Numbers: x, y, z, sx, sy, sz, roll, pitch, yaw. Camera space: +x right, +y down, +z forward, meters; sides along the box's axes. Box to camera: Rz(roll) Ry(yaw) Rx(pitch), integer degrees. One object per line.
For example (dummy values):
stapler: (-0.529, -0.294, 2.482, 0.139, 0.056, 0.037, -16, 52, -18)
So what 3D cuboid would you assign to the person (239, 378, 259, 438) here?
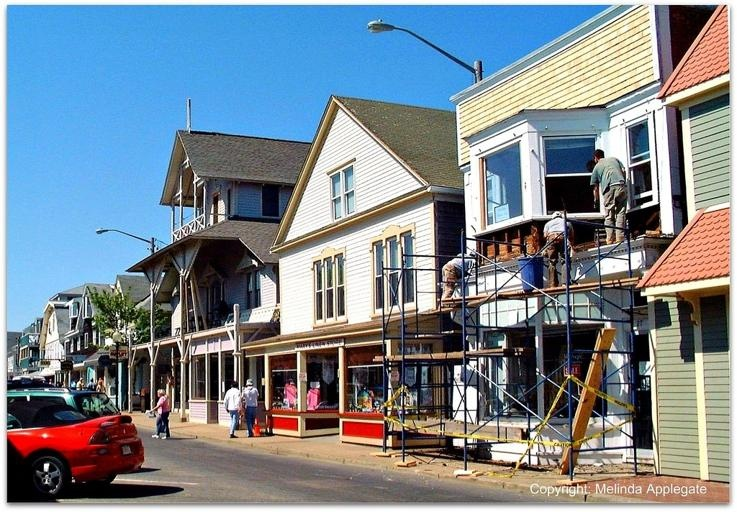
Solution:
person: (-4.152, 5.266, 34.423, 0.517, 2.042, 1.396, 1, -13, -7)

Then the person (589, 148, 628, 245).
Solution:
person: (5.842, -1.441, 23.937, 0.610, 2.455, 1.053, 4, -13, -18)

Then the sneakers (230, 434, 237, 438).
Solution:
sneakers: (-4.606, 6.114, 33.726, 0.092, 0.193, 0.278, 9, -16, -37)

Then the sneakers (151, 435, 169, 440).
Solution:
sneakers: (-7.216, 6.254, 34.303, 0.373, 0.165, 0.121, 11, -10, -6)

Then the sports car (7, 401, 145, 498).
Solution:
sports car: (-6.359, 4.034, 20.981, 2.864, 1.083, 1.435, 2, -6, 11)

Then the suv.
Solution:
suv: (-7.079, 3.070, 21.761, 2.297, 0.770, 1.084, 5, -3, 7)
